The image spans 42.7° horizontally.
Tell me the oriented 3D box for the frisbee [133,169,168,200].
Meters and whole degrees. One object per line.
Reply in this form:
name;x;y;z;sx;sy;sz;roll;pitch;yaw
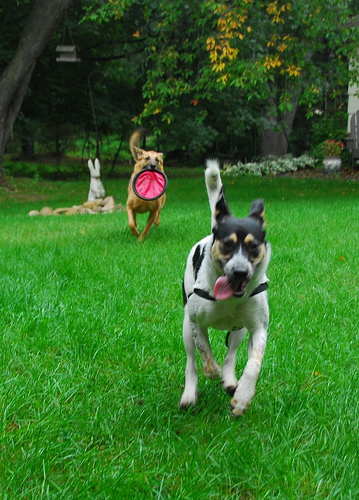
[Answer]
frisbee;-0.515;-1.113;7.846;0.575;0.531;0.408;-4;10;-8

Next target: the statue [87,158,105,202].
statue;-2.931;-2.451;15.797;0.531;1.404;1.660;-4;11;-10

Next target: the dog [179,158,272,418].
dog;0.237;0.258;2.590;0.527;1.523;1.086;-1;10;4

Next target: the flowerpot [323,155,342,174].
flowerpot;6.958;-3.832;20.963;0.653;1.070;0.781;0;1;-11

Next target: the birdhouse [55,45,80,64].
birdhouse;-3.639;-6.331;14.819;0.655;0.480;1.114;-6;12;-16

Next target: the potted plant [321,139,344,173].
potted plant;7.044;-4.264;21.258;1.020;1.755;0.971;-7;-17;36
